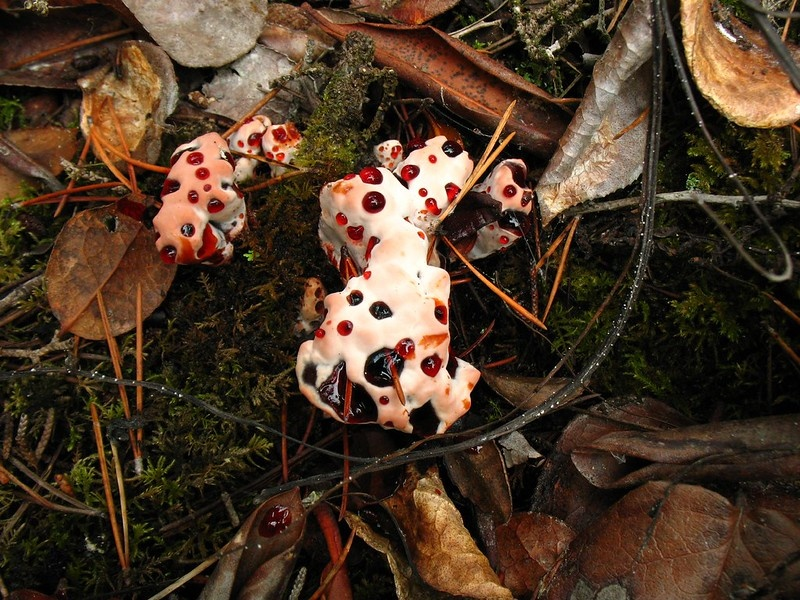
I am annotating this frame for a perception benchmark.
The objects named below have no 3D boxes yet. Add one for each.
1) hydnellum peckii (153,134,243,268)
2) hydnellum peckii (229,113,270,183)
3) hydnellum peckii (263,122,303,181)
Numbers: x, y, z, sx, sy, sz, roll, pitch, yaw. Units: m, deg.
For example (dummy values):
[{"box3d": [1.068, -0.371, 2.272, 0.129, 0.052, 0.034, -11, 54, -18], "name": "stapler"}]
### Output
[{"box3d": [-1.113, -0.487, 4.573, 0.469, 0.745, 0.362, 8, -10, -24], "name": "hydnellum peckii"}, {"box3d": [-0.862, -0.882, 4.803, 0.231, 0.367, 0.177, 25, 15, 8], "name": "hydnellum peckii"}, {"box3d": [-0.663, -0.843, 4.661, 0.227, 0.296, 0.115, -1, 16, -31], "name": "hydnellum peckii"}]
